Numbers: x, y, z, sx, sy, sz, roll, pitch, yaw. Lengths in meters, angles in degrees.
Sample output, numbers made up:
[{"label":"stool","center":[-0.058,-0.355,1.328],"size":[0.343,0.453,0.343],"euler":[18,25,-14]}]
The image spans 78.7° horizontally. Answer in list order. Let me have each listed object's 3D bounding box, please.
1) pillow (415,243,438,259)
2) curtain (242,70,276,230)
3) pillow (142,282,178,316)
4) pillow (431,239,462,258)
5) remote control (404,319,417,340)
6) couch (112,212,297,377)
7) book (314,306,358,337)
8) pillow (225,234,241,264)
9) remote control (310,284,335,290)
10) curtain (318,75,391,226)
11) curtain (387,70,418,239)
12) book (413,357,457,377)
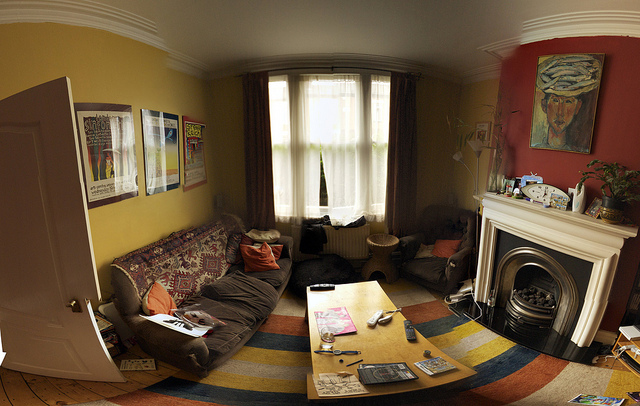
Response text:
[{"label":"pillow","center":[1.839,0.817,6.847],"size":[0.253,0.074,0.251],"euler":[1,36,25]},{"label":"curtain","center":[-1.076,-0.881,6.748],"size":[0.491,2.672,0.281],"euler":[-4,13,-4]},{"label":"pillow","center":[-2.158,1.295,5.205],"size":[0.315,0.414,0.374],"euler":[2,13,19]},{"label":"pillow","center":[2.165,0.759,6.696],"size":[0.461,0.279,0.287],"euler":[5,14,31]},{"label":"remote control","center":[1.137,1.592,4.920],"size":[0.142,0.045,0.419],"euler":[-3,25,4]},{"label":"couch","center":[-1.658,1.265,5.508],"size":[1.717,1.223,3.094],"euler":[9,22,22]},{"label":"book","center":[0.199,1.534,5.121],"size":[0.506,0.157,0.485],"euler":[-4,12,-7]},{"label":"pillow","center":[-1.436,0.740,6.389],"size":[0.247,0.405,0.109],"euler":[18,-12,-27]},{"label":"remote control","center":[0.030,1.216,5.737],"size":[0.360,0.056,0.074],"euler":[-2,12,-1]},{"label":"curtain","center":[0.638,-0.939,6.911],"size":[1.238,2.581,0.357],"euler":[-6,13,-14]},{"label":"curtain","center":[1.431,-0.822,6.854],"size":[0.535,2.855,0.362],"euler":[-2,13,2]},{"label":"book","center":[1.342,1.892,4.546],"size":[0.429,0.094,0.189],"euler":[-5,12,-14]}]
